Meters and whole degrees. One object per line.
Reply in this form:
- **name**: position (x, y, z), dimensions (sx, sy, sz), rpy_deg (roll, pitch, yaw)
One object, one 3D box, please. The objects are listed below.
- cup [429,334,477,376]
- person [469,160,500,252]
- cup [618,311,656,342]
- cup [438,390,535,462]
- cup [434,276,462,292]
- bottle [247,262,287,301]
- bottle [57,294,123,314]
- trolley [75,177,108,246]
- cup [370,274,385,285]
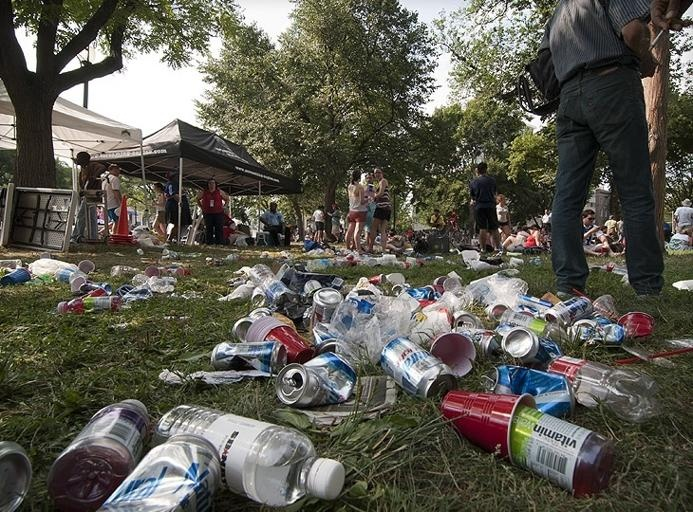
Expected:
- **cup**: position (0.458, 0.404, 1.958), dimensions (0.252, 0.187, 0.081), rpy_deg (0, 0, -35)
- **person**: position (2.543, -0.949, 8.887), dimensions (0.540, 1.779, 1.511), rpy_deg (0, 0, 18)
- **cup**: position (1.316, 0.320, 2.175), dimensions (0.141, 0.133, 0.061), rpy_deg (-5, -32, 23)
- **cup**: position (0.431, 0.521, 1.549), dimensions (0.256, 0.224, 0.213), rpy_deg (5, -13, 24)
- **cup**: position (0.716, 0.209, 3.457), dimensions (0.172, 0.068, 0.124), rpy_deg (-13, 23, -29)
- **bottle**: position (-0.529, 0.174, 3.187), dimensions (0.131, 0.148, 0.469), rpy_deg (-18, 28, -17)
- **bottle**: position (-1.588, 0.298, 2.934), dimensions (0.350, 0.090, 0.203), rpy_deg (-1, 0, 7)
- **trolley**: position (-4.532, -0.720, 8.385), dimensions (0.453, 0.820, 0.487), rpy_deg (1, 10, -15)
- **cup**: position (0.246, 0.202, 4.015), dimensions (0.086, 0.088, 0.126), rpy_deg (-9, 3, -41)
